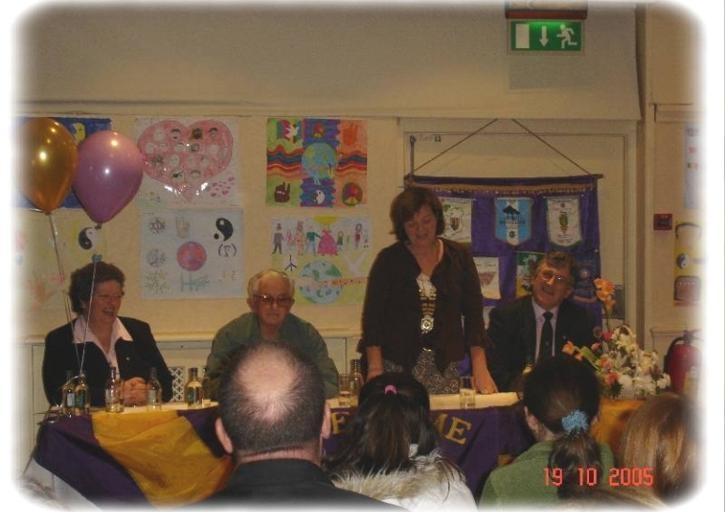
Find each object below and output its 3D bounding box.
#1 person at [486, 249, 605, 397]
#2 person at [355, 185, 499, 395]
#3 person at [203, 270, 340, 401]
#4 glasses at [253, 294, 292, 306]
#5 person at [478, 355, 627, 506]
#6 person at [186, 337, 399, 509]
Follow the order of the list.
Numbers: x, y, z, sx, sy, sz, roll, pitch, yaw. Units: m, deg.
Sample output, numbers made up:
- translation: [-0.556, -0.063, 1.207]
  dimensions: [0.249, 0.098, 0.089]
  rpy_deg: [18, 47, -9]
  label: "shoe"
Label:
- translation: [1.754, 0.554, 11.049]
  dimensions: [0.920, 1.383, 0.813]
  rpy_deg: [5, 8, 10]
  label: "person"
- translation: [0.586, 0.405, 10.791]
  dimensions: [1.102, 2.133, 1.019]
  rpy_deg: [0, 11, -11]
  label: "person"
- translation: [-0.746, 0.663, 10.260]
  dimensions: [0.991, 1.349, 0.819]
  rpy_deg: [0, 10, -23]
  label: "person"
- translation: [-0.837, 0.404, 10.510]
  dimensions: [0.363, 0.090, 0.072]
  rpy_deg: [2, 0, -8]
  label: "glasses"
- translation: [1.395, 1.436, 8.452]
  dimensions: [0.848, 1.216, 0.822]
  rpy_deg: [7, 6, 14]
  label: "person"
- translation: [-0.441, 1.040, 8.002]
  dimensions: [1.095, 1.278, 0.956]
  rpy_deg: [0, 0, 1]
  label: "person"
